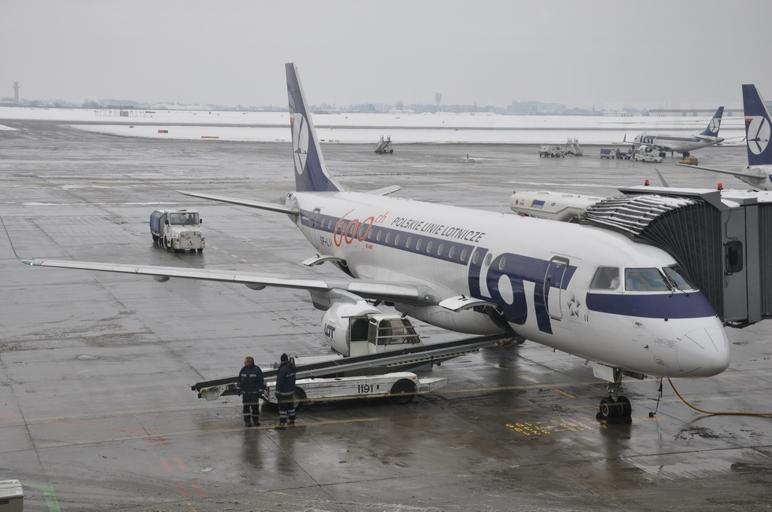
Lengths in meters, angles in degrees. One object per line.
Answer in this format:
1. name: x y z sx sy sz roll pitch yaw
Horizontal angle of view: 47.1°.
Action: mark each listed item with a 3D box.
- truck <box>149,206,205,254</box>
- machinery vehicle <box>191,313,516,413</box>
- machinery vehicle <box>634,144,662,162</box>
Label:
1. truck: -15.455 -2.106 65.692 2.874 2.155 6.777 -4 11 -27
2. machinery vehicle: -1.062 4.329 38.293 14.944 3.268 5.348 -5 11 -21
3. machinery vehicle: 46.104 -17.883 156.476 3.306 3.141 7.395 2 14 7
